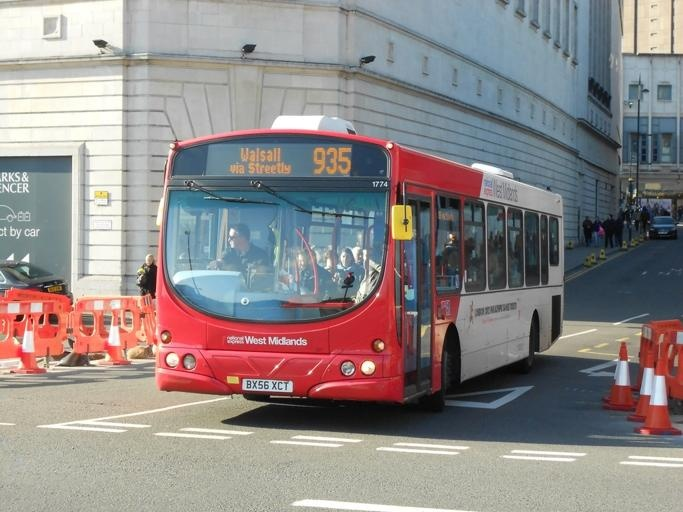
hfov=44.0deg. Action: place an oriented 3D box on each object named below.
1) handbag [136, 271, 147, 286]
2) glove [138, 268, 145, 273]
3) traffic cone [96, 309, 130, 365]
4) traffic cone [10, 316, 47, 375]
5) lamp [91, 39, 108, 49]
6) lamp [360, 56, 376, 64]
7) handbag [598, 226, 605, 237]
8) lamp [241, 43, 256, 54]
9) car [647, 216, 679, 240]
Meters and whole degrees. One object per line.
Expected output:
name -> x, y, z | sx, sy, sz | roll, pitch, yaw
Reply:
handbag -> -5.125, 0.604, 21.568 | 0.219, 0.484, 0.290 | 11, -17, -30
glove -> -5.128, 0.407, 21.569 | 0.160, 0.100, 0.211 | -2, 2, 10
traffic cone -> -4.508, 1.587, 16.701 | 0.566, 1.041, 0.952 | 0, -1, -16
traffic cone -> -5.711, 1.615, 15.406 | 0.548, 0.990, 0.825 | 0, -2, -22
lamp -> -7.359, -6.336, 25.618 | 0.458, 0.283, 0.428 | -1, -2, 12
lamp -> 0.830, -6.357, 27.951 | 0.435, 0.143, 0.310 | -12, 18, -44
handbag -> 17.876, -1.632, 58.324 | 0.601, 0.772, 0.258 | -1, -20, 7
lamp -> -2.895, -6.290, 26.104 | 0.440, 0.360, 0.296 | 0, -1, -11
car -> 24.321, -1.962, 63.998 | 2.010, 1.641, 1.811 | -1, -2, 21
